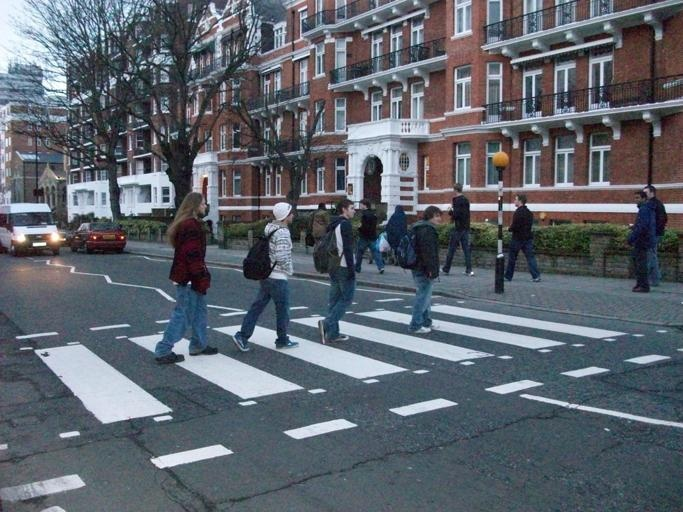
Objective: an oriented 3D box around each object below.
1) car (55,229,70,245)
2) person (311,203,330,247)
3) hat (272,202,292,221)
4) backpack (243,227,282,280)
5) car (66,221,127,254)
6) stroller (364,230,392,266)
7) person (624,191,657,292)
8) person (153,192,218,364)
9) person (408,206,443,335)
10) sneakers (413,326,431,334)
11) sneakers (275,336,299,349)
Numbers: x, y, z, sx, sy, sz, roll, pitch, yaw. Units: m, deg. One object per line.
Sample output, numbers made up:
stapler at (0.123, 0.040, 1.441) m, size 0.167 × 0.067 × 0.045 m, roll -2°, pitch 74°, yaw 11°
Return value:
car at (-14.732, -0.972, 35.115) m, size 0.921 × 0.799 × 1.548 m, roll 1°, pitch -1°, yaw -22°
person at (-0.647, -0.902, 18.948) m, size 0.541 × 1.446 × 0.450 m, roll 7°, pitch 34°, yaw 2°
hat at (-0.894, -0.693, 9.964) m, size 0.245 × 0.216 × 0.249 m, roll -25°, pitch 30°, yaw -30°
backpack at (-1.228, 0.027, 9.847) m, size 0.605 × 0.698 × 0.397 m, roll -11°, pitch 12°, yaw -36°
car at (-12.006, -0.967, 32.576) m, size 1.346 × 1.118 × 3.089 m, roll -1°, pitch 6°, yaw -27°
stroller at (1.141, -0.254, 19.961) m, size 0.805 × 1.118 × 0.506 m, roll 12°, pitch 14°, yaw 26°
person at (6.679, -0.348, 14.721) m, size 0.457 × 2.233 × 0.668 m, roll 3°, pitch 7°, yaw 37°
person at (-2.222, 0.278, 9.574) m, size 0.742 × 2.387 × 0.723 m, roll -1°, pitch 6°, yaw -2°
person at (1.399, 0.221, 11.072) m, size 0.510 × 2.085 × 0.789 m, roll 0°, pitch 6°, yaw 7°
sneakers at (1.381, 1.235, 11.100) m, size 0.285 × 0.141 × 0.117 m, roll -5°, pitch 8°, yaw -23°
sneakers at (-0.835, 1.303, 10.180) m, size 0.386 × 0.209 × 0.152 m, roll -1°, pitch 6°, yaw -13°
